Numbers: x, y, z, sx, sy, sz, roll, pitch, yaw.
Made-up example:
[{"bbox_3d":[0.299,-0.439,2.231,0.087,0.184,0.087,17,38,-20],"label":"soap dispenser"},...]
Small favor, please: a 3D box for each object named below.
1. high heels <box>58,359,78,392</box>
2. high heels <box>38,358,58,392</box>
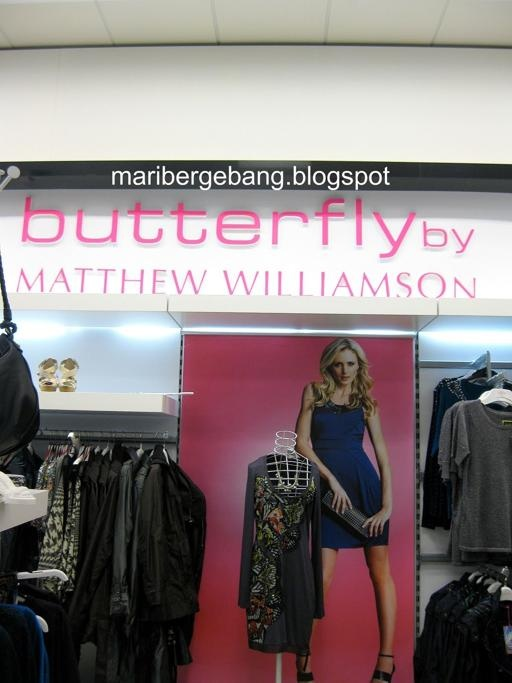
[{"bbox_3d":[-1.011,0.179,3.163,0.073,0.210,0.081,1,-45,-11],"label":"high heels"},{"bbox_3d":[-1.120,0.180,3.145,0.075,0.215,0.081,-4,-9,-18],"label":"high heels"}]
